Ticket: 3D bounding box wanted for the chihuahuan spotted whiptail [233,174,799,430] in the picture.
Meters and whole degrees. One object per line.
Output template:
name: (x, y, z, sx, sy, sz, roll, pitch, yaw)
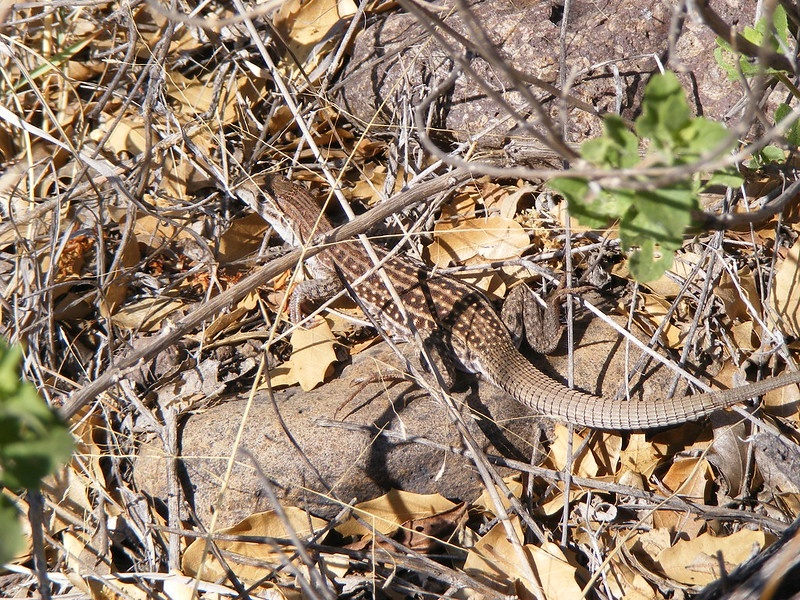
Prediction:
chihuahuan spotted whiptail: (0.362, 0.161, 5.843, 3.546, 0.469, 1.435, 37, 52, 17)
